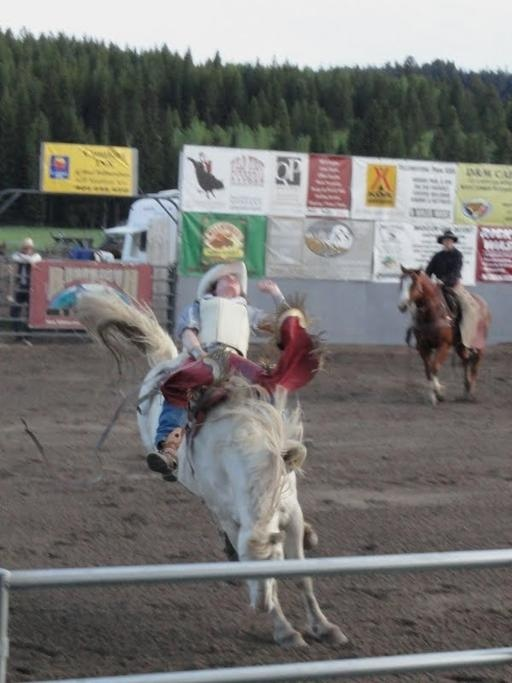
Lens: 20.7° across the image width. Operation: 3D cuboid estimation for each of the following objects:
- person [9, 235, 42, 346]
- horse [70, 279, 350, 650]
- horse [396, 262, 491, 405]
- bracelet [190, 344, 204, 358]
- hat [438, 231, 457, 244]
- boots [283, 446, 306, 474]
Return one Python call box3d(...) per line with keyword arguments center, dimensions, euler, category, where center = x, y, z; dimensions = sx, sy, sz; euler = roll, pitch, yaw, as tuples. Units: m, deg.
box3d(center=(-3.329, -0.718, 20.470), dimensions=(0.429, 1.485, 1.431), euler=(-1, 7, -10), category="person")
box3d(center=(-0.376, 0.734, 9.881), dimensions=(0.613, 1.791, 2.909), euler=(-16, 25, -24), category="horse")
box3d(center=(2.257, -0.086, 16.810), dimensions=(0.603, 1.647, 2.098), euler=(2, 2, 36), category="horse")
box3d(center=(-0.402, 0.073, 9.489), dimensions=(0.070, 0.080, 0.107), euler=(12, 15, -3), category="bracelet")
box3d(center=(2.351, -1.310, 17.831), dimensions=(0.238, 0.128, 0.359), euler=(1, -21, 7), category="hat")
box3d(center=(0.231, 0.778, 9.099), dimensions=(0.074, 0.163, 0.268), euler=(4, -18, 0), category="boots")
